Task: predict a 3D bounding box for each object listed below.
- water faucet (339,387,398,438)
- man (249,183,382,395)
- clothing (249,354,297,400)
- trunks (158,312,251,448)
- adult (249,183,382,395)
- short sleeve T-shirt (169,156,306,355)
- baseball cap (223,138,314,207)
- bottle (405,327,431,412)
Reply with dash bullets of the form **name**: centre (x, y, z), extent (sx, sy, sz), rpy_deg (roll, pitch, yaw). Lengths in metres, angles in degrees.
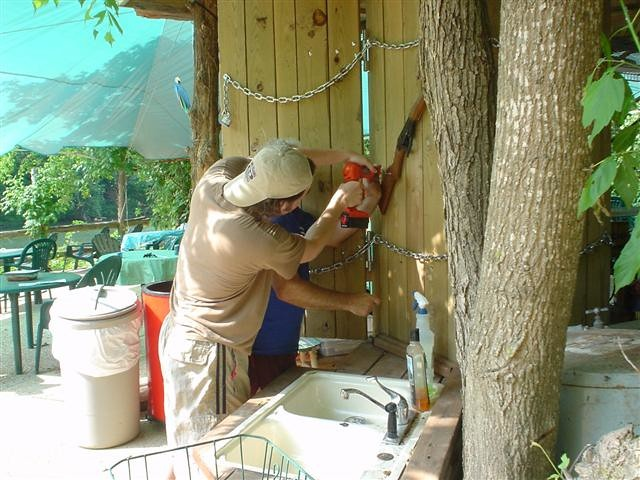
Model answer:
- **water faucet**: centre (0.230, 0.808, 2.823), extent (0.247, 0.171, 0.461), rpy_deg (-1, 1, 1)
- **man**: centre (-0.026, 0.253, 3.333), extent (0.406, 0.295, 1.251), rpy_deg (-1, -31, -10)
- **clothing**: centre (-0.288, 0.831, 3.569), extent (0.221, 0.269, 0.239), rpy_deg (-1, -5, 12)
- **trunks**: centre (-0.678, 0.672, 3.143), extent (0.371, 0.731, 0.587), rpy_deg (-6, 7, -13)
- **adult**: centre (-0.026, 0.253, 3.333), extent (0.406, 0.295, 1.251), rpy_deg (-1, -31, -10)
- **short sleeve T-shirt**: centre (-0.417, 0.125, 3.111), extent (0.620, 0.968, 0.668), rpy_deg (-22, 50, -38)
- **baseball cap**: centre (-0.247, -0.299, 2.741), extent (0.417, 0.189, 0.282), rpy_deg (-18, 31, -21)
- **bottle**: centre (0.480, 0.629, 2.830), extent (0.103, 0.384, 0.158), rpy_deg (0, 2, 28)
